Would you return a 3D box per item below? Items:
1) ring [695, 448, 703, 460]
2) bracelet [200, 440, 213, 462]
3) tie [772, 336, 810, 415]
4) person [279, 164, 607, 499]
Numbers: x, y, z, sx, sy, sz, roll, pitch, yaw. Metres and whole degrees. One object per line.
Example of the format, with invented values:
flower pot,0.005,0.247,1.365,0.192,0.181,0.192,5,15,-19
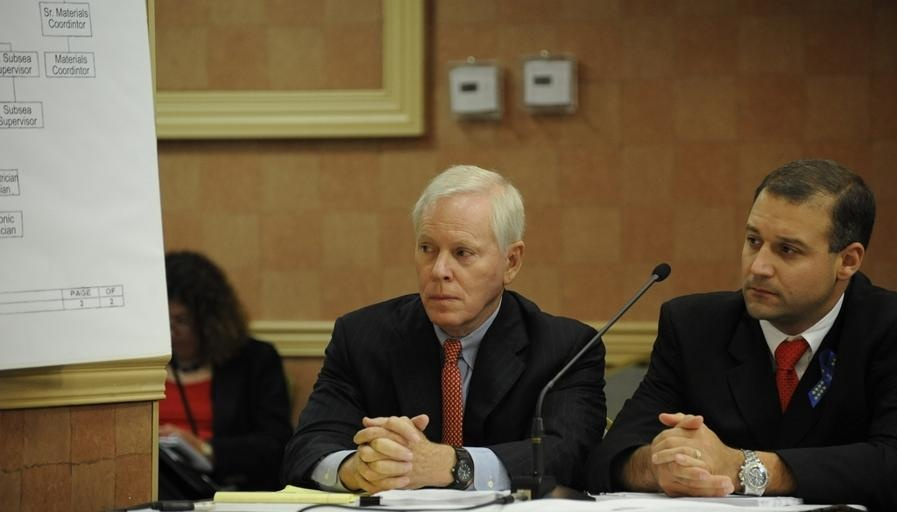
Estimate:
ring,0.869,0.691,2.942,0.006,0.026,0.027,-5,11,-29
bracelet,-1.243,1.000,4.339,0.019,0.077,0.078,-22,-4,-22
tie,1.292,0.458,3.218,0.135,0.277,0.076,15,-5,17
person,-0.015,0.436,3.409,1.190,1.561,1.087,-3,-10,23
